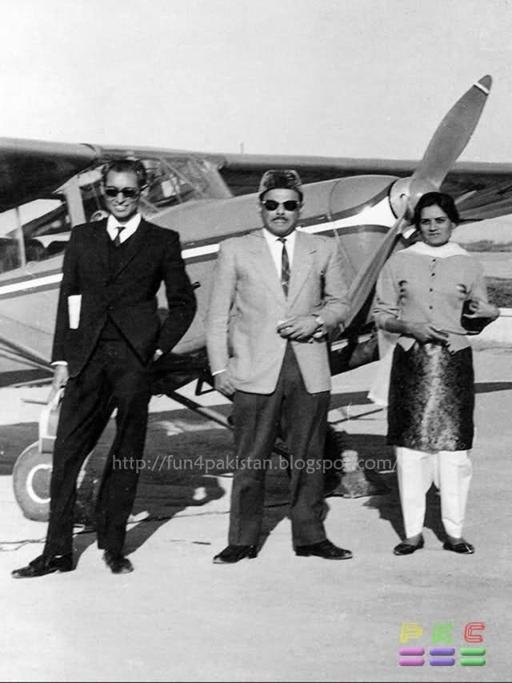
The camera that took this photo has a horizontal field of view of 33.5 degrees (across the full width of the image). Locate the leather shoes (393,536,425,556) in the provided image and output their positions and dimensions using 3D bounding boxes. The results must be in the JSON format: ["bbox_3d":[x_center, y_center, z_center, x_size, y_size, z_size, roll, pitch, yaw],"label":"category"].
[{"bbox_3d":[0.658,0.894,3.675,0.172,0.051,0.056,-2,-4,-36],"label":"leather shoes"}]

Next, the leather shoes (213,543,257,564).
[{"bbox_3d":[-0.085,0.892,3.532,0.220,0.079,0.068,0,2,-16],"label":"leather shoes"}]

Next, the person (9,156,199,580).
[{"bbox_3d":[-0.625,0.204,3.472,0.743,1.482,0.269,-2,5,-20],"label":"person"}]

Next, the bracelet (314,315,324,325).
[{"bbox_3d":[0.252,-0.080,3.471,0.037,0.035,0.029,1,5,18],"label":"bracelet"}]

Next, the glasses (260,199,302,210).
[{"bbox_3d":[0.098,-0.553,3.485,0.151,0.046,0.042,0,4,-2],"label":"glasses"}]

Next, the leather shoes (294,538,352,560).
[{"bbox_3d":[0.283,0.886,3.610,0.269,0.091,0.088,-3,-1,15],"label":"leather shoes"}]

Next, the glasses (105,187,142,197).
[{"bbox_3d":[-0.538,-0.589,3.388,0.127,0.036,0.044,-1,4,-10],"label":"glasses"}]

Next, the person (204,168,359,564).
[{"bbox_3d":[0.090,0.223,3.588,0.596,1.408,0.278,0,5,-2],"label":"person"}]

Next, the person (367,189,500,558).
[{"bbox_3d":[0.765,0.147,3.669,0.518,1.560,0.317,0,5,6],"label":"person"}]

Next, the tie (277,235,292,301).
[{"bbox_3d":[0.113,-0.293,3.555,0.057,0.290,0.013,-2,-23,-1],"label":"tie"}]

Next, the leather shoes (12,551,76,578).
[{"bbox_3d":[-0.832,0.902,3.402,0.296,0.095,0.087,1,-3,-2],"label":"leather shoes"}]

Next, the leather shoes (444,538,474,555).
[{"bbox_3d":[0.893,0.895,3.696,0.125,0.066,0.068,-3,-2,32],"label":"leather shoes"}]

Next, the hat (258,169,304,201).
[{"bbox_3d":[0.108,-0.647,3.539,0.159,0.088,0.159,-1,-7,38],"label":"hat"}]

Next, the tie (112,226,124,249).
[{"bbox_3d":[-0.566,-0.421,3.472,0.030,0.083,0.007,18,-26,7],"label":"tie"}]
